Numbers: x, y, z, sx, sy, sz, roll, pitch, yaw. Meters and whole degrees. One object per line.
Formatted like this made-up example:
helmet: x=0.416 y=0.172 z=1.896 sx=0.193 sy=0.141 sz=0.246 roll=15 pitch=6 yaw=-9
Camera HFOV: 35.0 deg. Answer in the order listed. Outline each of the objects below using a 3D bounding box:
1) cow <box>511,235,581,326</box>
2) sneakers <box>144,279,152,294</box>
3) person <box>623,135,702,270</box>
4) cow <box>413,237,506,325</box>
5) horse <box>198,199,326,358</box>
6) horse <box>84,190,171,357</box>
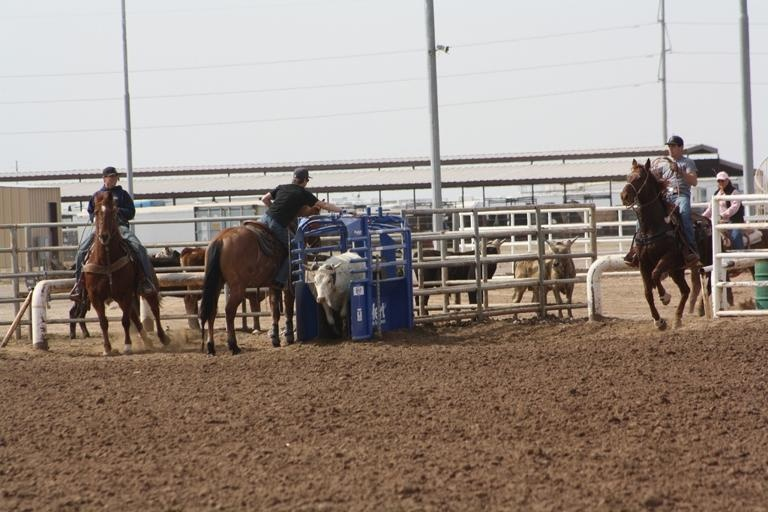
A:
cow: x=3.097 y=0.423 z=23.415 sx=1.180 sy=1.540 sz=2.385 roll=-3 pitch=-3 yaw=4
sneakers: x=-4.048 y=0.518 z=20.848 sx=0.138 sy=0.237 sz=0.224 roll=1 pitch=-32 yaw=-3
person: x=5.060 y=-0.953 z=21.228 sx=0.872 sy=2.221 sz=0.777 roll=-5 pitch=3 yaw=-22
cow: x=1.471 y=0.372 z=23.442 sx=1.641 sy=1.426 sz=3.936 roll=-3 pitch=-3 yaw=5
horse: x=-2.193 y=0.397 z=20.547 sx=0.915 sy=2.430 sz=1.863 roll=-5 pitch=-4 yaw=41
horse: x=-4.533 y=0.260 z=20.811 sx=0.902 sy=2.793 sz=1.494 roll=-4 pitch=-3 yaw=24
